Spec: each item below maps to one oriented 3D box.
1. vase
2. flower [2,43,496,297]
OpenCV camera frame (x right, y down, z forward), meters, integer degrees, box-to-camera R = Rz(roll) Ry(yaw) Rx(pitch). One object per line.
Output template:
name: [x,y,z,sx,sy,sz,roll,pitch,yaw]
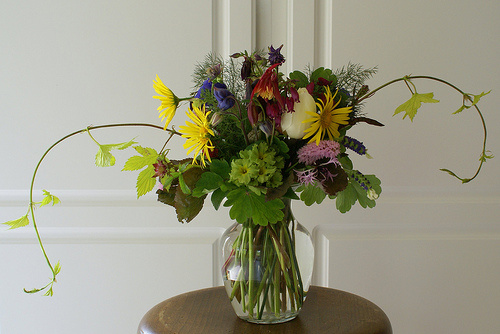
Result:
vase: [0.044,0.264,1.786,0.303,0.471,0.315,-1,6,28]
flower: [0.036,-0.013,1.689,0.951,0.740,0.281,-2,13,-5]
